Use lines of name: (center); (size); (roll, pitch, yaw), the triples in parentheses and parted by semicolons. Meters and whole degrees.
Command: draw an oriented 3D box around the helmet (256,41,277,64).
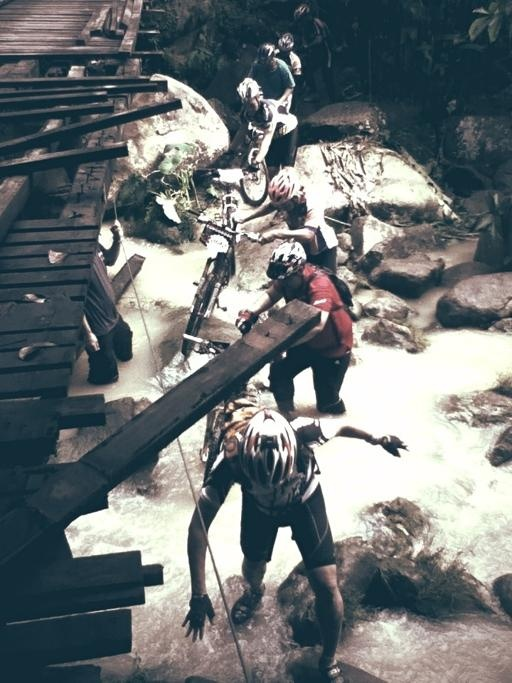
helmet: (0.156, -4.338, 10.615); (0.250, 0.296, 0.337); (8, 18, -6)

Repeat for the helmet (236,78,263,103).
helmet: (-0.082, -3.827, 10.748); (0.373, 0.391, 0.649); (9, 17, -3)

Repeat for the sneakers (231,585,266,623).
sneakers: (-0.085, 2.235, 5.996); (0.148, 0.423, 0.167); (36, -22, 11)

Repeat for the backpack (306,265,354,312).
backpack: (0.798, -0.491, 7.173); (0.452, 0.242, 0.323); (44, 25, -26)

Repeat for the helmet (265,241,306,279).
helmet: (0.264, -0.746, 6.822); (0.289, 0.216, 0.407); (27, 56, 27)

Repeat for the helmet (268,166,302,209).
helmet: (0.318, -1.694, 7.912); (0.300, 0.429, 0.369); (17, 19, 21)
